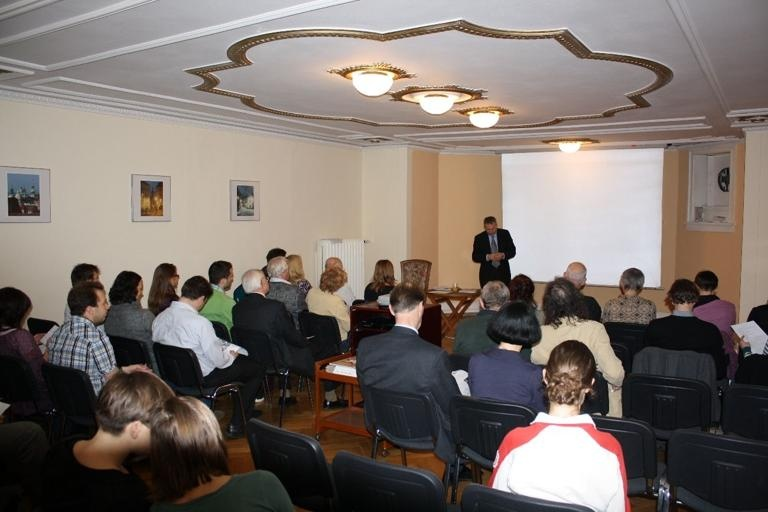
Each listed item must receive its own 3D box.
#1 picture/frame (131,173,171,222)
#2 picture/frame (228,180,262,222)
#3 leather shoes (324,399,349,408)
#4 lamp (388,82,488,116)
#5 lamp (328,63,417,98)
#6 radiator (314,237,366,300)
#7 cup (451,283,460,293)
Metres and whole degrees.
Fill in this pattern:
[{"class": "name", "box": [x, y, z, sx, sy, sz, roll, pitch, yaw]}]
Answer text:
[{"class": "picture/frame", "box": [-3.233, -0.807, 7.200, 0.052, 0.793, 0.667, 5, 5, 36]}, {"class": "picture/frame", "box": [-2.243, -0.887, 8.345, 0.059, 0.841, 0.678, 4, 3, 37]}, {"class": "leather shoes", "box": [-0.534, 1.603, 5.761, 0.248, 0.103, 0.094, -1, -4, -6]}, {"class": "lamp", "box": [0.645, -1.846, 6.270, 1.158, 0.222, 0.636, 0, 4, 2]}, {"class": "lamp", "box": [-0.138, -1.807, 5.457, 0.880, 0.254, 0.484, 0, 4, 2]}, {"class": "radiator", "box": [-0.737, 0.152, 8.410, 1.079, 1.149, 0.129, -4, 8, -41]}, {"class": "cup", "box": [1.164, 0.526, 8.621, 0.143, 0.140, 0.148, 1, -6, 0]}]
